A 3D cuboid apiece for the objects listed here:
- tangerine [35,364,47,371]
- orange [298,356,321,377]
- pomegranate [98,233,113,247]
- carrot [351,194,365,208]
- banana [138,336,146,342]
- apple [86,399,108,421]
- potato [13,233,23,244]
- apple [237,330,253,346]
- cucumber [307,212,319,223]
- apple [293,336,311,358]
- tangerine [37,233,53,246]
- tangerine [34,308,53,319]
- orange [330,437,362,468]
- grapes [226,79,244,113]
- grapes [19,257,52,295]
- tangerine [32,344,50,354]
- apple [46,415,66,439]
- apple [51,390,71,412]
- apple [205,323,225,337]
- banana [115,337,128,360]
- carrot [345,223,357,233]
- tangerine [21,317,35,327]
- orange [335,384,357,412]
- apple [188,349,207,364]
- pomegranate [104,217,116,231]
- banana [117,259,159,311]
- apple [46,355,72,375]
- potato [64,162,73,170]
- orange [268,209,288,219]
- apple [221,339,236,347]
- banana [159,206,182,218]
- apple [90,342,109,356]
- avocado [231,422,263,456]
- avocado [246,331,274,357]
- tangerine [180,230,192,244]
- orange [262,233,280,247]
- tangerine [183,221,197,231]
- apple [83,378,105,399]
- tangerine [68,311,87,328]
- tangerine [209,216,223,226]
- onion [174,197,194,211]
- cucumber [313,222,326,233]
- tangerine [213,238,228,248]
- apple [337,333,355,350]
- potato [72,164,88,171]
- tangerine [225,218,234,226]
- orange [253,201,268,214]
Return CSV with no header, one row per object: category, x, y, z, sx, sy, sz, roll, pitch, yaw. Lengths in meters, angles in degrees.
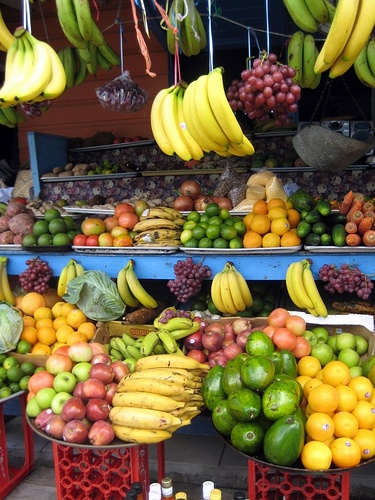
tangerine,-0.758,0.607,2.130,0.040,0.043,0.038,0,-22,19
orange,0.518,0.504,1.753,0.092,0.076,0.108,-1,16,8
pomegranate,-0.534,-0.061,2.684,0.098,0.073,0.109,-6,16,-9
carrot,0.958,-0.275,2.322,0.051,0.052,0.079,-16,-19,13
banana,-0.239,0.455,2.130,0.030,0.018,0.034,-3,4,0
apple,-0.329,0.588,1.516,0.079,0.082,0.075,2,-1,-8
potato,-1.174,-0.077,2.867,0.056,0.036,0.066,5,41,0
apple,0.283,0.414,1.990,0.072,0.063,0.074,8,7,10
cucumber,0.720,-0.184,2.359,0.073,0.058,0.068,9,20,36
apple,0.515,0.442,1.864,0.076,0.082,0.071,28,19,-8
tangerine,-0.935,-0.064,2.707,0.101,0.076,0.080,-15,18,2
tangerine,-0.898,0.396,2.563,0.085,0.089,0.079,3,12,1
orange,0.486,0.621,1.264,0.090,0.093,0.086,-9,5,13
grapes,0.220,-0.734,1.930,0.091,0.137,0.077,-11,-10,9
grapes,-0.983,0.154,2.663,0.143,0.142,0.193,-26,36,-11
tangerine,-0.829,0.567,2.341,0.062,0.069,0.066,5,16,17
apple,-0.477,0.643,1.497,0.067,0.075,0.069,-1,-9,2
apple,-0.500,0.594,1.611,0.066,0.062,0.065,-28,-39,36
apple,0.144,0.423,2.168,0.080,0.055,0.056,3,-7,16
banana,-0.353,0.521,2.208,0.045,0.139,0.049,-27,-15,22
carrot,0.901,-0.125,2.282,0.057,0.051,0.051,9,9,36
tangerine,-0.960,0.435,2.491,0.066,0.070,0.063,-8,6,4
orange,0.547,0.507,1.413,0.081,0.085,0.075,0,-36,3
apple,0.057,0.505,1.987,0.069,0.058,0.064,-1,7,-1
pomegranate,-0.539,-0.185,2.934,0.093,0.098,0.087,1,3,-2
banana,-0.317,0.237,2.607,0.127,0.386,0.230,-4,46,36
apple,-0.585,0.519,1.868,0.100,0.082,0.088,2,-22,-1
potato,-1.324,-0.933,4.599,0.074,0.047,0.091,2,-7,-24
orange,0.546,-0.221,2.499,0.092,0.062,0.065,-6,-3,18
apple,0.201,0.464,2.054,0.035,0.032,0.039,12,38,-27
banana,-0.111,-0.254,2.789,0.135,0.042,0.067,25,23,0
apple,-0.452,0.505,2.113,0.081,0.076,0.093,27,-16,-1
avocado,0.183,0.577,1.320,0.104,0.095,0.118,17,-19,15
avocado,0.277,0.364,1.644,0.111,0.113,0.093,-5,-3,-1
tangerine,-0.017,-0.087,2.589,0.083,0.091,0.080,7,14,-4
orange,0.483,-0.061,2.389,0.092,0.078,0.080,-2,5,-4
tangerine,0.012,-0.161,2.673,0.073,0.050,0.051,-23,11,-10
apple,-0.359,0.526,1.587,0.079,0.068,0.072,-2,-4,0
tangerine,-0.655,0.405,2.494,0.110,0.111,0.099,-3,10,-4
tangerine,0.174,-0.180,2.563,0.059,0.061,0.055,-24,-3,37
onion,-0.022,-0.349,3.162,0.127,0.110,0.114,0,5,12
cucumber,0.738,-0.121,2.302,0.063,0.057,0.060,26,-24,-25
tangerine,0.197,-0.036,2.446,0.081,0.058,0.060,-9,7,-32
apple,0.741,0.426,1.930,0.082,0.075,0.081,-2,11,32
potato,-1.195,-0.914,4.573,0.138,0.065,0.102,-6,3,5
tangerine,0.263,-0.174,2.588,0.047,0.042,0.050,9,22,-11
orange,0.468,-0.275,2.646,0.092,0.092,0.080,-3,7,-29
